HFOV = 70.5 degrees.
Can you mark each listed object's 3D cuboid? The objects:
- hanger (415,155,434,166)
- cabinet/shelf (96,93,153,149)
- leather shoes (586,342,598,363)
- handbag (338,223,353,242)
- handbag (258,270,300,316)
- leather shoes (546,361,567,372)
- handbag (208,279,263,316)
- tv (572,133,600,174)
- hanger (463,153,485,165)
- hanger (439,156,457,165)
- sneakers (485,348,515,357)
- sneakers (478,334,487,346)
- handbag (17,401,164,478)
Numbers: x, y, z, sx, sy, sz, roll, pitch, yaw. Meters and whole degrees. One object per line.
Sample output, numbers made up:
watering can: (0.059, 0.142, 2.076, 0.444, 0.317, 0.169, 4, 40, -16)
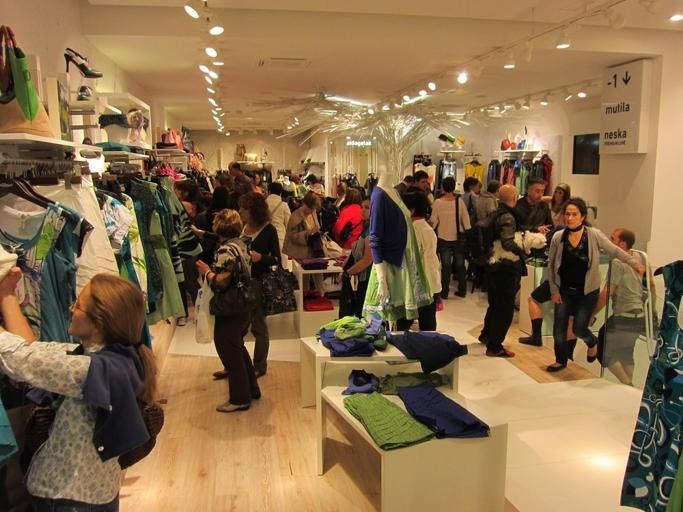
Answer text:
hanger: (2.414, -2.772, 14.048, 0.388, 0.195, 0.569, 1, 9, 2)
cabinet/shelf: (-2.310, -1.422, 5.149, 0.449, 0.549, 1.854, -5, 12, -20)
leather shoes: (2.540, 0.980, 4.850, 0.089, 0.248, 0.166, 5, 13, 28)
handbag: (0.070, -0.341, 6.964, 0.102, 0.264, 0.138, 26, 2, -33)
handbag: (-0.595, 0.339, 4.708, 0.293, 0.403, 0.310, 4, 12, 23)
leather shoes: (2.233, 1.134, 4.998, 0.229, 0.066, 0.090, -4, 17, -16)
handbag: (-0.905, 0.338, 4.014, 0.263, 0.394, 0.157, -12, -6, -23)
tv: (5.141, -2.110, 10.207, 0.901, 0.978, 0.070, 3, 1, -4)
hanger: (3.897, -2.832, 14.032, 0.503, 0.544, 0.042, 0, -1, -9)
hanger: (3.139, -2.771, 14.032, 0.326, 0.177, 0.442, 0, 7, 5)
sneakers: (1.779, 1.080, 5.355, 0.236, 0.101, 0.127, -1, 2, -4)
sneakers: (1.666, 0.980, 5.666, 0.082, 0.125, 0.112, -8, -12, 13)
handbag: (-1.097, 0.825, 2.162, 0.349, 0.366, 0.391, 8, -31, 3)
